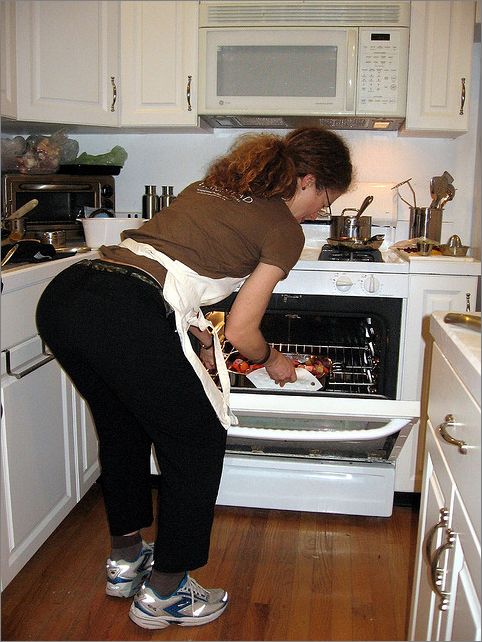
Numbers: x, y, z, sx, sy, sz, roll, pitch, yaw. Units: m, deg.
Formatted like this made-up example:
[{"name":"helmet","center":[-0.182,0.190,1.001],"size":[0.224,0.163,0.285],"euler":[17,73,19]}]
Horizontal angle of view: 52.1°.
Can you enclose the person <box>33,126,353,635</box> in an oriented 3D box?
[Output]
[{"name":"person","center":[-0.109,0.160,1.113],"size":[0.643,1.171,0.398],"euler":[-2,8,-23]}]

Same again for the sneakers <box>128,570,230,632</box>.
[{"name":"sneakers","center":[-0.148,0.681,1.230],"size":[0.260,0.131,0.101],"euler":[1,-3,-20]}]

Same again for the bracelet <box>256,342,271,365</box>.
[{"name":"bracelet","center":[0.060,0.074,1.139],"size":[0.017,0.046,0.039],"euler":[17,-8,-20]}]

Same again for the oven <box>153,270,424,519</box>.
[{"name":"oven","center":[0.234,0.200,1.760],"size":[0.612,0.405,0.709],"euler":[8,34,3]}]

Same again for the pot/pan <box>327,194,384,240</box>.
[{"name":"pot/pan","center":[0.398,-0.396,1.828],"size":[0.147,0.235,0.268],"euler":[-2,16,-9]}]

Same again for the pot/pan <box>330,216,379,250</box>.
[{"name":"pot/pan","center":[0.374,-0.313,1.706],"size":[0.181,0.134,0.133],"euler":[10,16,39]}]

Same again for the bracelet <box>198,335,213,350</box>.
[{"name":"bracelet","center":[-0.091,0.052,1.265],"size":[0.056,0.026,0.079],"euler":[1,2,0]}]

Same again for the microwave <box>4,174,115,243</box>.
[{"name":"microwave","center":[-0.726,-0.446,1.936],"size":[0.442,0.290,0.285],"euler":[-8,17,-33]}]

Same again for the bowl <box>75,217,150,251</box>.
[{"name":"bowl","center":[-0.468,-0.291,1.706],"size":[0.234,0.108,0.237],"euler":[0,8,0]}]

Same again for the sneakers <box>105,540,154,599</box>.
[{"name":"sneakers","center":[-0.281,0.630,1.337],"size":[0.074,0.103,0.210],"euler":[3,16,12]}]
